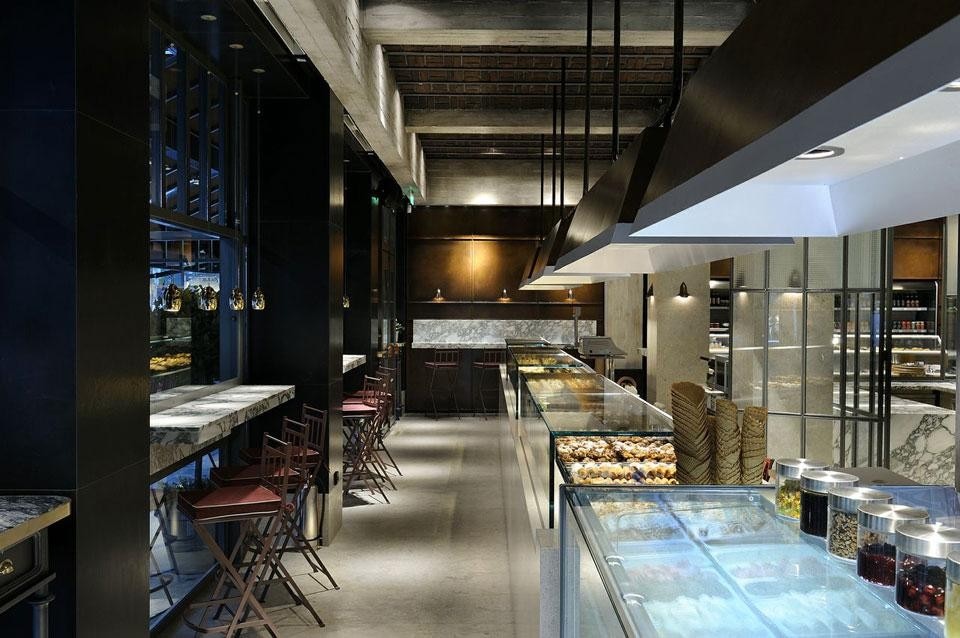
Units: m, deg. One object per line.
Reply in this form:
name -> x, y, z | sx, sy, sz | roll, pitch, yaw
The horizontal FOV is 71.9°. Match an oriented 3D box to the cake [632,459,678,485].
cake -> 0.738, 0.642, 2.778 | 0.141, 0.059, 0.139 | 1, -2, -3

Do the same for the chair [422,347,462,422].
chair -> -0.615, 1.039, 11.637 | 0.490, 1.029, 0.562 | 1, -2, -9
